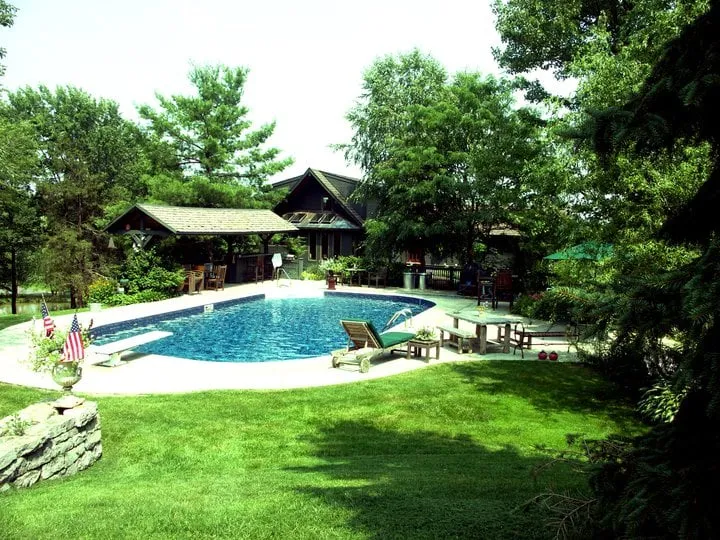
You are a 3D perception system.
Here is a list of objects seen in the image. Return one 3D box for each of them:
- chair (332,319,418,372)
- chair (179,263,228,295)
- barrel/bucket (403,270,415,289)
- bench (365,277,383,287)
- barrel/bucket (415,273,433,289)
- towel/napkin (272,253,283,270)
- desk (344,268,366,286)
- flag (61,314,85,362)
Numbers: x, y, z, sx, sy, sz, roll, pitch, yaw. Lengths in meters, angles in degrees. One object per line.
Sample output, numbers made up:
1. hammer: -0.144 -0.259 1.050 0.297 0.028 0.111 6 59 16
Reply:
1. chair: 0.543 2.007 17.364 1.293 1.348 2.850 3 5 38
2. chair: -8.382 0.513 30.513 1.594 0.936 1.624 5 6 26
3. barrel/bucket: 2.730 0.581 32.896 0.494 0.915 0.636 1 7 4
4. bench: 0.843 0.573 33.597 0.931 0.623 1.346 3 8 16
5. barrel/bucket: 3.690 0.588 32.712 0.891 0.932 0.883 0 -1 0
6. towel/napkin: -4.675 -0.551 33.836 0.343 0.928 0.736 8 -6 -21
7. desk: -0.215 0.352 34.143 1.110 0.964 1.261 7 10 42
8. flag: -5.727 1.351 11.632 0.371 0.991 0.570 -2 8 -18
